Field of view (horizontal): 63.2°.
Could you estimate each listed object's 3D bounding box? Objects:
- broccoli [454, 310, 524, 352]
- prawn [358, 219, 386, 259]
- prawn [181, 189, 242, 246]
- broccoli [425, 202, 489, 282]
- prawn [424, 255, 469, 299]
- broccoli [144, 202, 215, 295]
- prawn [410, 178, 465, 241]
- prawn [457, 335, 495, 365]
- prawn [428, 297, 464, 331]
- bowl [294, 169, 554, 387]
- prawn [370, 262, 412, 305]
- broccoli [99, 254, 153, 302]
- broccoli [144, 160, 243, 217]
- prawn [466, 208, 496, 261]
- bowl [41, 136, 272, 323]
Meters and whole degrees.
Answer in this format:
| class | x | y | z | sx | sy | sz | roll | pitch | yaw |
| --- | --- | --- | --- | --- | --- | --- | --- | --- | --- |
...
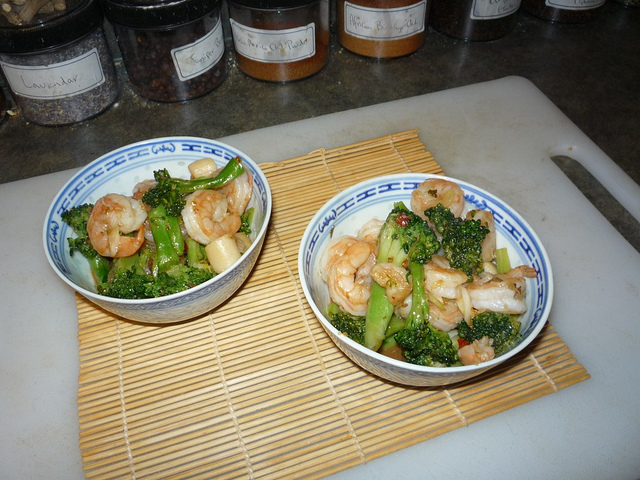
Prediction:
| class | x | y | z | sx | sy | sz | roll | pitch | yaw |
| --- | --- | --- | --- | --- | --- | --- | --- | --- | --- |
| broccoli | 0.442 | 0.255 | 1.403 | 0.142 | 0.164 | 0.050 | 22 | 94 | 2 |
| prawn | 0.145 | -0.007 | 1.541 | 0.083 | 0.047 | 0.099 | 0 | 83 | 7 |
| prawn | -0.327 | -0.069 | 1.525 | 0.135 | 0.151 | 0.179 | 20 | 32 | 34 |
| broccoli | 0.379 | -0.006 | 1.392 | 0.139 | 0.068 | 0.215 | -22 | 62 | 10 |
| prawn | 0.338 | 0.108 | 1.410 | 0.087 | 0.038 | 0.107 | -23 | 55 | -15 |
| broccoli | -0.420 | 0.042 | 1.515 | 0.163 | 0.098 | 0.258 | -16 | 82 | -8 |
| prawn | 0.331 | -0.101 | 1.528 | 0.166 | 0.082 | 0.166 | -43 | 72 | -6 |
| prawn | 0.412 | 0.298 | 1.358 | 0.093 | 0.073 | 0.064 | -17 | 59 | -8 |
| prawn | 0.340 | 0.204 | 1.402 | 0.082 | 0.035 | 0.094 | -18 | 84 | -6 |
| bowl | 0.280 | 0.103 | 1.454 | 0.605 | 0.325 | 0.666 | 0 | 51 | -4 |
| prawn | 0.199 | 0.119 | 1.388 | 0.082 | 0.031 | 0.112 | -27 | 76 | -6 |
| broccoli | -0.548 | 0.098 | 1.484 | 0.110 | 0.053 | 0.135 | -3 | 46 | 1 |
| broccoli | -0.387 | -0.152 | 1.625 | 0.274 | 0.084 | 0.164 | -20 | 73 | -1 |
| prawn | 0.474 | -0.012 | 1.511 | 0.085 | 0.042 | 0.147 | 3 | 86 | -3 |
| bowl | -0.513 | 0.006 | 1.694 | 0.584 | 0.344 | 0.648 | 2 | 53 | 0 |
